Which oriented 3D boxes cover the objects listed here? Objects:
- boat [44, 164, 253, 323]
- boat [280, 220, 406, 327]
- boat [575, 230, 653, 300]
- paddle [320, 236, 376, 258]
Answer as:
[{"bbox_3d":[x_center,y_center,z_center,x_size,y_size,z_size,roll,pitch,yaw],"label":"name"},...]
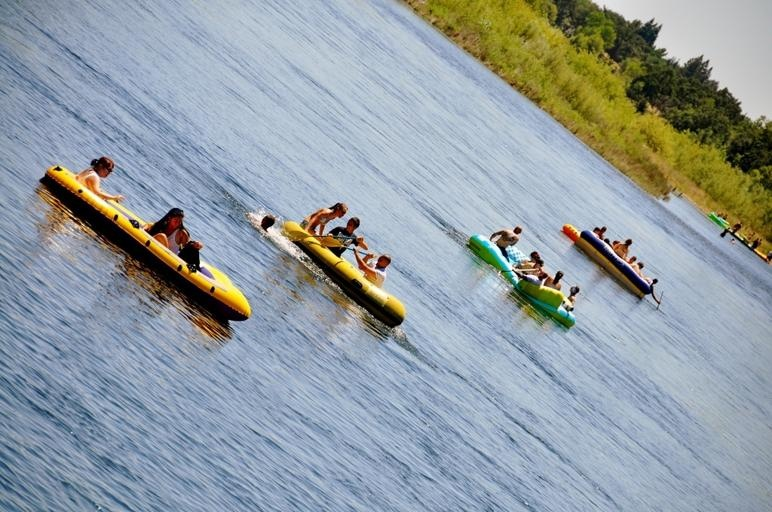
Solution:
[{"bbox_3d":[-8.482,-0.309,49.546,9.641,1.298,4.722,35,-1,5],"label":"boat"},{"bbox_3d":[-1.546,0.742,52.577,6.754,1.095,3.348,38,1,38],"label":"boat"},{"bbox_3d":[10.591,0.258,66.096,5.075,0.975,2.681,39,0,-14],"label":"boat"},{"bbox_3d":[-1.362,-0.421,51.220,2.241,0.706,0.331,5,6,-21],"label":"paddle"}]
